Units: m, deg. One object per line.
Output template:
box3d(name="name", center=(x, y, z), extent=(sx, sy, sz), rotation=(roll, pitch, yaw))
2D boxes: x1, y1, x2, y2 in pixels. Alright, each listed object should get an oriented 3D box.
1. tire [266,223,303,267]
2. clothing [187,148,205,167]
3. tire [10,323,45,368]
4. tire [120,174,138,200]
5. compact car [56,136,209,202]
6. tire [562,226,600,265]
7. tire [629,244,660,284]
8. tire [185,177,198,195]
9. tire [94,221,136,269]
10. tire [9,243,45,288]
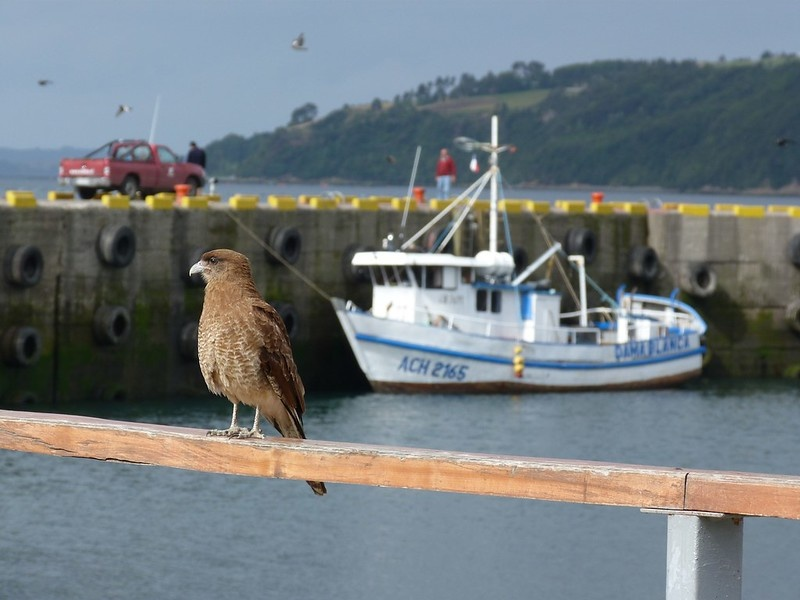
box3d(name="tire", center=(-3.434, -1.288, 63.083), extent=(0.384, 1.206, 1.119), rotation=(2, -3, 35))
box3d(name="clothing", center=(-6.276, -4.102, 66.644), extent=(0.555, 0.806, 0.541), rotation=(-1, 27, -2))
box3d(name="tire", center=(-10.337, 1.520, 59.376), extent=(0.383, 1.138, 1.056), rotation=(-2, 2, 29))
box3d(name="tire", center=(-8.010, -3.063, 63.384), extent=(0.199, 0.611, 0.577), rotation=(19, 41, 38))
box3d(name="compact car", center=(-8.050, -3.582, 64.206), extent=(4.327, 1.717, 1.223), rotation=(-5, 4, -43))
box3d(name="tire", center=(5.626, -1.452, 66.581), extent=(1.122, 1.334, 0.708), rotation=(-1, 4, -32))
box3d(name="tire", center=(7.627, -0.771, 66.960), extent=(0.444, 1.073, 0.987), rotation=(1, 10, 41))
box3d(name="tire", center=(-6.301, -3.157, 64.907), extent=(0.555, 0.621, 0.205), rotation=(-3, 9, -25))
box3d(name="tire", center=(-8.099, -1.251, 60.788), extent=(0.338, 1.160, 1.069), rotation=(3, 12, 34))
box3d(name="tire", center=(-10.375, -0.674, 59.496), extent=(0.373, 1.177, 1.062), rotation=(0, 6, 31))
